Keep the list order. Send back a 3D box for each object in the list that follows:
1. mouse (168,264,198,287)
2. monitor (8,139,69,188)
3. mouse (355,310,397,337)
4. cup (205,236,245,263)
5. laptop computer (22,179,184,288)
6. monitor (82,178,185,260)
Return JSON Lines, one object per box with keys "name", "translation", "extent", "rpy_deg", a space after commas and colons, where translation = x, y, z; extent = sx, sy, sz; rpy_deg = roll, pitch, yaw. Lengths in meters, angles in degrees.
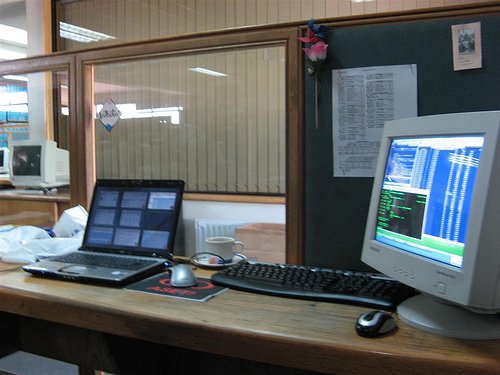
{"name": "mouse", "translation": [-0.213, 0.249, 1.175], "extent": [0.088, 0.046, 0.144], "rpy_deg": [2, 8, -24]}
{"name": "monitor", "translation": [-0.980, -0.110, 1.827], "extent": [0.271, 0.158, 0.146], "rpy_deg": [0, 0, 35]}
{"name": "mouse", "translation": [0.269, 0.294, 0.846], "extent": [0.081, 0.026, 0.046], "rpy_deg": [-5, 4, -41]}
{"name": "cup", "translation": [-0.092, 0.217, 1.373], "extent": [0.134, 0.075, 0.095], "rpy_deg": [1, 8, 21]}
{"name": "laptop computer", "translation": [-0.479, 0.145, 1.311], "extent": [0.435, 0.248, 0.378], "rpy_deg": [1, 0, 25]}
{"name": "monitor", "translation": [-0.415, 0.104, 1.487], "extent": [0.425, 0.229, 0.289], "rpy_deg": [2, -1, 10]}
